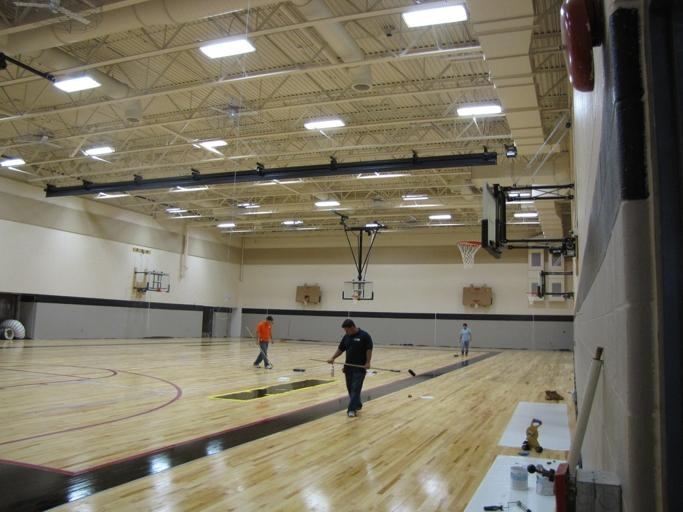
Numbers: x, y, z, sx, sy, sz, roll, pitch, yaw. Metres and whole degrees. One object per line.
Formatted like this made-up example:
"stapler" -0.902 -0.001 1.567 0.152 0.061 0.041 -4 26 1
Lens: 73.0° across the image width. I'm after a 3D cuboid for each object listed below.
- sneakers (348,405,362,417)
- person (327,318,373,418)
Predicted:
"sneakers" 0.214 2.449 7.269 0.090 0.095 0.334 -3 -8 15
"person" 0.191 1.810 7.824 0.685 1.496 1.439 -1 -6 1
